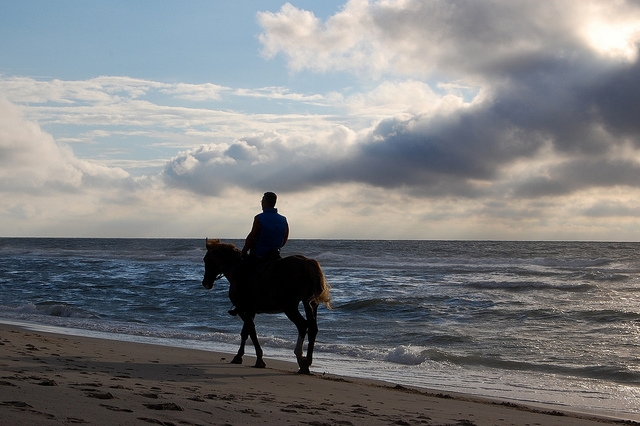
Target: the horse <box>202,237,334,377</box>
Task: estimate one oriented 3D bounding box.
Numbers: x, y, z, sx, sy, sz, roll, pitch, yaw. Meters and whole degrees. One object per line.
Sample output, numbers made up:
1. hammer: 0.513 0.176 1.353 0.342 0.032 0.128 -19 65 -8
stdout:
1. horse: -1.704 2.782 19.307 1.597 3.806 5.844 7 -10 -44
